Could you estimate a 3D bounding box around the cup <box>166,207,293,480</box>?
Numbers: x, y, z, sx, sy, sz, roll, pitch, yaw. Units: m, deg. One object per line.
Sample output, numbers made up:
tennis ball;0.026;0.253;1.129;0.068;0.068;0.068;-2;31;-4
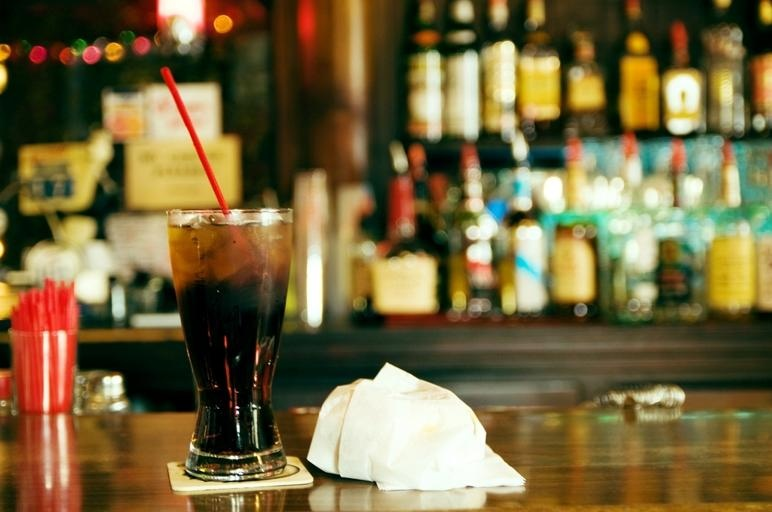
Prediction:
cup;-0.324;0.187;2.331;0.264;0.580;0.162;-4;0;-12
